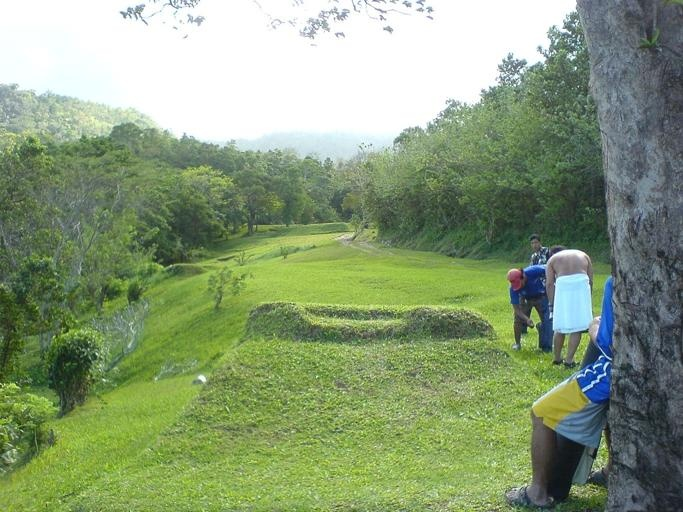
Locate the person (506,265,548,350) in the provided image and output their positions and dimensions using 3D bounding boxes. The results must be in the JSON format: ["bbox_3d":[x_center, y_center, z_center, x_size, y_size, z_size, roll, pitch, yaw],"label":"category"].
[{"bbox_3d":[4.368,1.252,15.048,1.116,2.109,1.157,-2,7,3],"label":"person"}]

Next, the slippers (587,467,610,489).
[{"bbox_3d":[3.737,3.217,9.348,0.143,0.308,0.412,3,-1,-37],"label":"slippers"}]
